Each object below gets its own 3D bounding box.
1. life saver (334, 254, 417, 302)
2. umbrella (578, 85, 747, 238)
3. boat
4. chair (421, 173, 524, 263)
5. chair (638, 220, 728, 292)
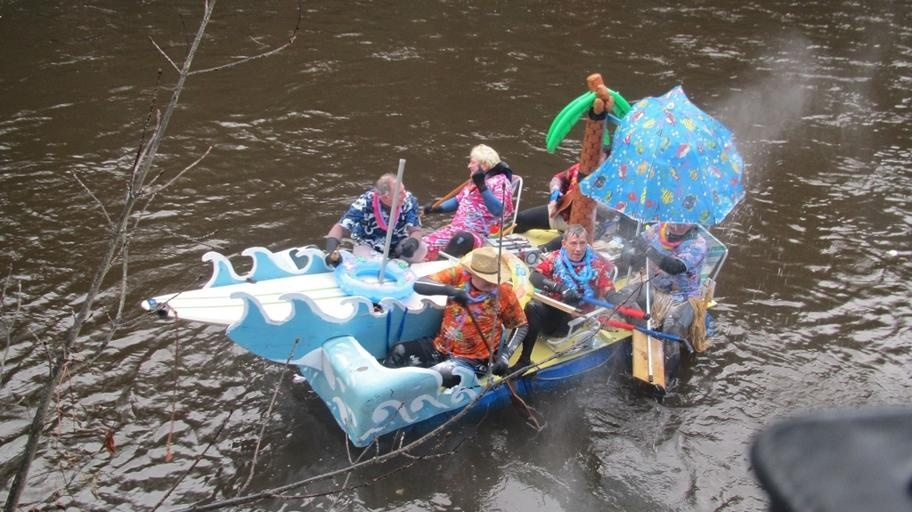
[{"bbox_3d":[-1.476,0.381,18.517,1.069,0.246,0.935,-7,35,-24],"label":"life saver"},{"bbox_3d":[4.022,-1.395,19.012,2.900,1.341,2.539,-27,50,-14],"label":"umbrella"},{"bbox_3d":[-0.042,1.116,18.378,9.195,3.303,2.657,-6,34,-9],"label":"boat"},{"bbox_3d":[0.422,-0.800,20.148,1.778,1.810,2.141,2,1,11],"label":"chair"},{"bbox_3d":[4.442,0.104,19.554,1.110,1.552,1.469,2,0,44],"label":"chair"}]
